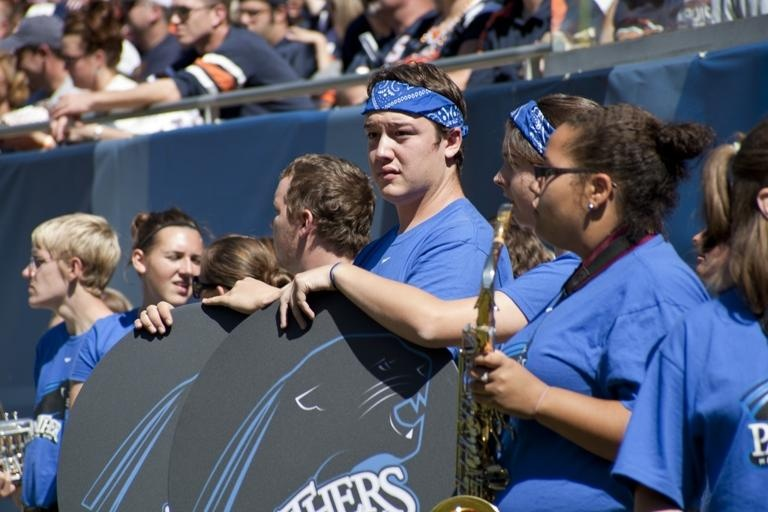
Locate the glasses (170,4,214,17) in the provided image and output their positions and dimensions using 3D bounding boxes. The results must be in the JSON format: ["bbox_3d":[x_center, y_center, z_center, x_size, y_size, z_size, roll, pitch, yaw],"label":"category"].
[{"bbox_3d":[-1.548,-1.900,16.992,0.182,0.058,0.179,-12,10,-32],"label":"glasses"}]

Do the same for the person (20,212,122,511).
[{"bbox_3d":[-2.123,0.754,15.043,0.652,2.577,0.962,5,-28,-12],"label":"person"}]
